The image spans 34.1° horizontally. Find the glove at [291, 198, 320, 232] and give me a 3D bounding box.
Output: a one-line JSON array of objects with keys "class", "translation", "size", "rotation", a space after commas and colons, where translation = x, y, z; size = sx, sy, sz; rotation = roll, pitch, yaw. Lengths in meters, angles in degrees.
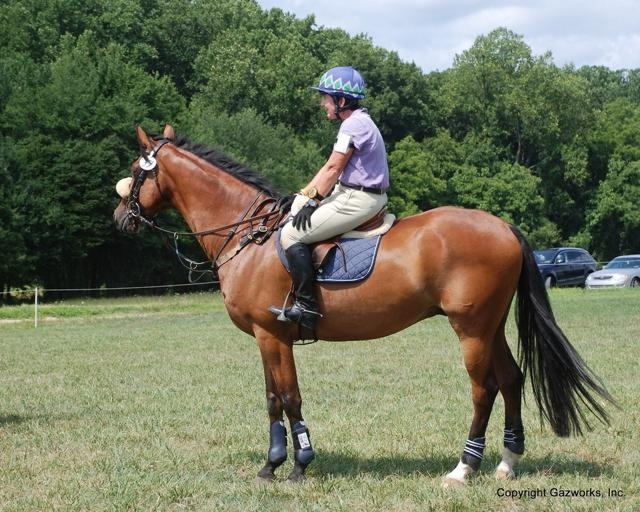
[{"class": "glove", "translation": [-0.383, -1.104, 27.059], "size": [0.533, 0.856, 0.254], "rotation": [21, 20, 1]}]

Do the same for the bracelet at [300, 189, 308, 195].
[{"class": "bracelet", "translation": [-0.435, -1.667, 27.038], "size": [0.132, 0.132, 0.135], "rotation": [7, -4, 2]}]

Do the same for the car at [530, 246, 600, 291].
[{"class": "car", "translation": [11.412, 0.627, 48.435], "size": [3.998, 1.586, 1.785], "rotation": [3, -6, -37]}]
